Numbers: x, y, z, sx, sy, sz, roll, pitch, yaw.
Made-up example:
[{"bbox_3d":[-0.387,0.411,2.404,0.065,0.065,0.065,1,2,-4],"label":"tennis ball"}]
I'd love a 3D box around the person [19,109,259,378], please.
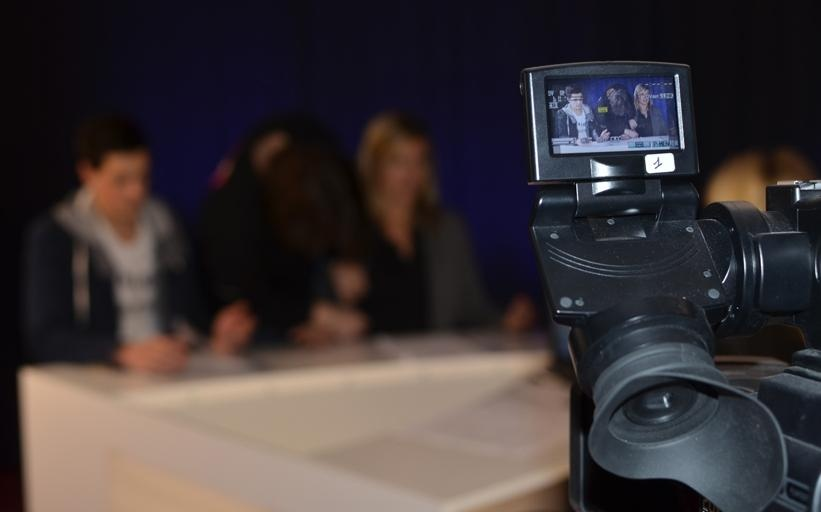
[{"bbox_3d":[-1.198,0.055,3.356,1.137,1.233,0.828,15,18,28],"label":"person"}]

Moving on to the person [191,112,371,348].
[{"bbox_3d":[-0.576,-0.142,3.504,0.779,1.013,0.314,0,9,-23],"label":"person"}]

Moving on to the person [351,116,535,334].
[{"bbox_3d":[0.031,-0.107,3.613,0.601,0.990,0.296,-14,4,-11],"label":"person"}]
